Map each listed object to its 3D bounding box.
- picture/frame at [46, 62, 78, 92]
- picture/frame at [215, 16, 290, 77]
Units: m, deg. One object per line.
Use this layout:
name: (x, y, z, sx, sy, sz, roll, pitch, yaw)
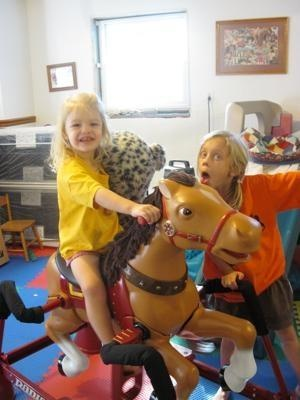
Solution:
picture/frame: (-0.946, -1.339, 3.520, 0.362, 0.283, 0.024, 5, 20, 24)
picture/frame: (0.966, -1.422, 2.973, 0.638, 0.424, 0.024, 0, 7, 9)
